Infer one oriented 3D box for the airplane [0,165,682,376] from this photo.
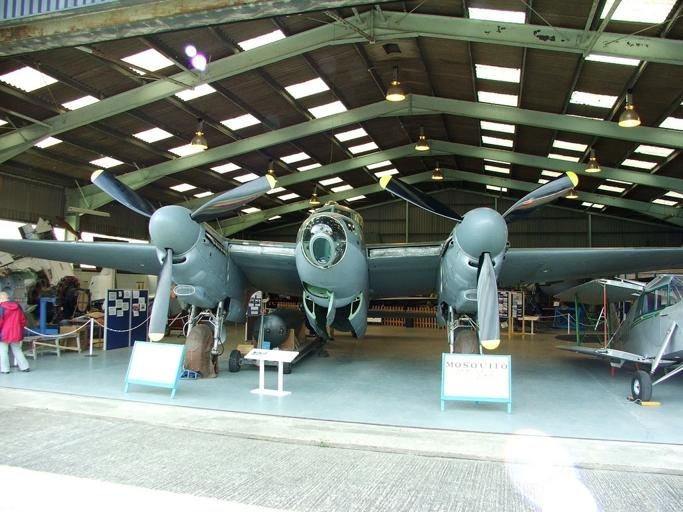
[{"bbox_3d":[-0.107,0.381,11.812,15.049,4.174,4.346,0,-9,6],"label":"airplane"}]
